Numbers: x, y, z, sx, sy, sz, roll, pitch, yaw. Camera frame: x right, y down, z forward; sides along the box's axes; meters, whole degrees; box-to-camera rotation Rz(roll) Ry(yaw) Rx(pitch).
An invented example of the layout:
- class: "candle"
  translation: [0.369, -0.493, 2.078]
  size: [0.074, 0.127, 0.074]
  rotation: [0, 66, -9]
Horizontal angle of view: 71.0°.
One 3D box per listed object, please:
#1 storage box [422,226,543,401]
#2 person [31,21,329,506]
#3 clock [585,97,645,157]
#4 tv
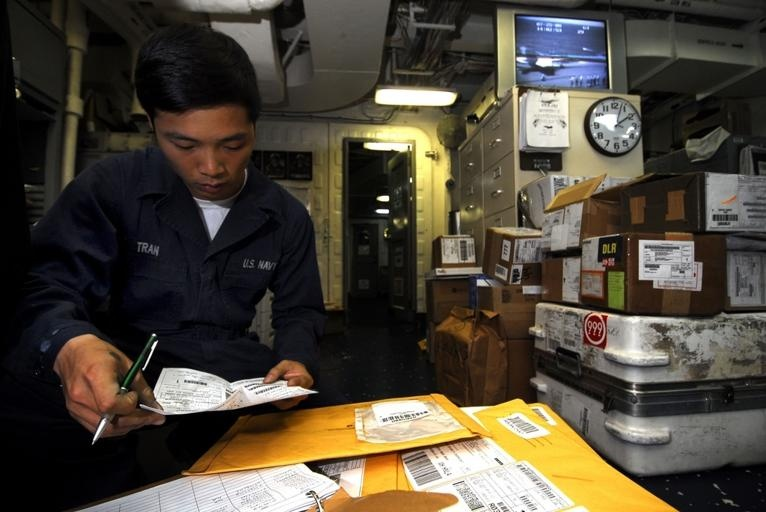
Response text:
- class: "storage box"
  translation: [0.685, 0.367, 3.438]
  size: [0.582, 1.082, 0.683]
  rotation: [-2, 1, -27]
- class: "person"
  translation: [-0.798, -0.007, 2.166]
  size: [1.116, 1.275, 0.690]
  rotation: [-2, 1, -28]
- class: "clock"
  translation: [1.863, -1.040, 4.366]
  size: [0.492, 0.474, 0.093]
  rotation: [2, -6, -9]
- class: "tv"
  translation: [1.468, -1.693, 4.540]
  size: [0.972, 0.569, 0.130]
  rotation: [-1, -4, -3]
